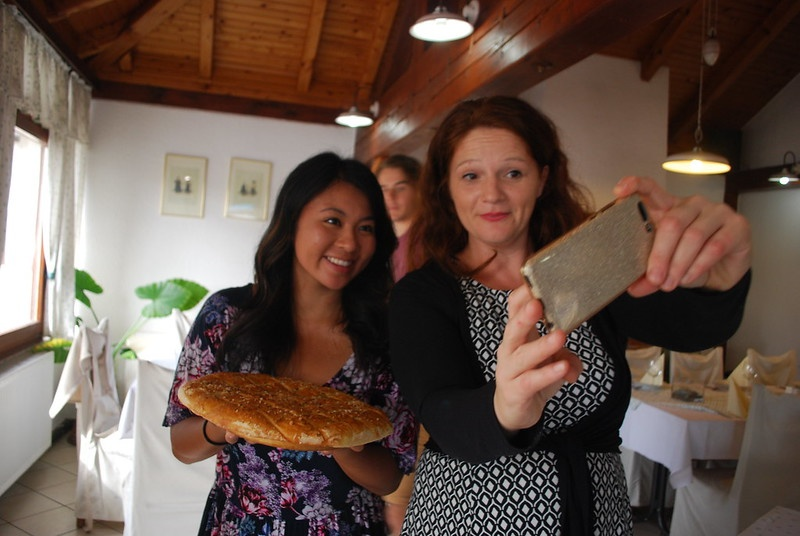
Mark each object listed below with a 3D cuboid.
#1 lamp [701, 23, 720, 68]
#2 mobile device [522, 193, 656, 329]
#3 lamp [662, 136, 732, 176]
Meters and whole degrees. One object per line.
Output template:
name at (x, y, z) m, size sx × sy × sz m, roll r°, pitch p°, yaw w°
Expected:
lamp at (2.497, -1.777, 4.686) m, size 0.123 × 0.312 × 0.039 m, roll 3°, pitch -2°, yaw 31°
mobile device at (0.618, -0.008, 1.887) m, size 0.474 × 0.275 × 0.049 m, roll -37°, pitch 10°, yaw -11°
lamp at (2.568, -0.905, 5.086) m, size 0.518 × 0.239 × 0.511 m, roll 0°, pitch 3°, yaw -1°
